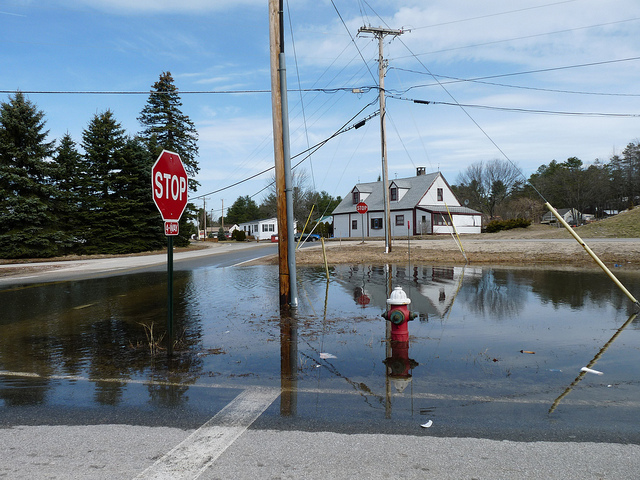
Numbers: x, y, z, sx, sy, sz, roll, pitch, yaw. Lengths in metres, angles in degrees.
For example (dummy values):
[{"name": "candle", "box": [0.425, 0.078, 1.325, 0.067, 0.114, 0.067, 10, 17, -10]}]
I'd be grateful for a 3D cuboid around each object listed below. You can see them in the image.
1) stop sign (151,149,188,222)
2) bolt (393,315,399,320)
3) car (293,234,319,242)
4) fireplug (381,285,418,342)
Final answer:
[{"name": "stop sign", "box": [-2.474, -0.895, 10.200, 0.336, 1.200, 0.918, -3, 4, 12]}, {"name": "bolt", "box": [1.372, 1.377, 11.041, 0.091, 0.079, 0.010, -3, 4, 14]}, {"name": "car", "box": [-0.868, -0.171, 53.431, 2.160, 0.738, 0.976, -6, 2, 16]}, {"name": "fireplug", "box": [1.451, 1.351, 11.282, 0.601, 1.002, 0.514, -3, 4, 8]}]
